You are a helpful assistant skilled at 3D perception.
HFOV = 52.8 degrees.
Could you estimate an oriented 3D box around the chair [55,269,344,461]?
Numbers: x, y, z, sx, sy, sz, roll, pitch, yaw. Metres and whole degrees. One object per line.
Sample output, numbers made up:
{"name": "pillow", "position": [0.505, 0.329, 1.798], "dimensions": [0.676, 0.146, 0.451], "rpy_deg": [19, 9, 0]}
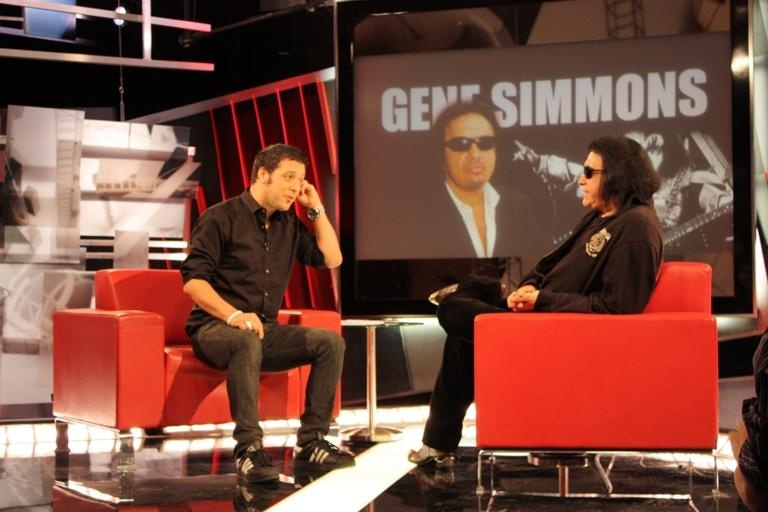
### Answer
{"name": "chair", "position": [-1.129, 0.520, 4.650], "dimensions": [1.001, 0.849, 1.417], "rpy_deg": [-4, -6, 43]}

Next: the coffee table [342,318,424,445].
{"name": "coffee table", "position": [0.166, 0.782, 5.022], "dimensions": [0.672, 0.733, 0.711], "rpy_deg": [-1, -2, 19]}

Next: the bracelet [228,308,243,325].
{"name": "bracelet", "position": [-0.782, 0.324, 4.052], "dimensions": [0.082, 0.068, 0.067], "rpy_deg": [-1, 2, -12]}

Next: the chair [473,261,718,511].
{"name": "chair", "position": [1.042, 0.571, 4.042], "dimensions": [1.099, 1.119, 1.199], "rpy_deg": [1, -5, 10]}

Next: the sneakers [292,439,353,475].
{"name": "sneakers", "position": [-0.324, 1.064, 4.078], "dimensions": [0.309, 0.146, 0.146], "rpy_deg": [-2, -4, 13]}

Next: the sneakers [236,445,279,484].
{"name": "sneakers", "position": [-0.639, 1.044, 3.844], "dimensions": [0.119, 0.131, 0.274], "rpy_deg": [4, -5, -34]}

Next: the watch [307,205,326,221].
{"name": "watch", "position": [-0.404, -0.252, 4.588], "dimensions": [0.084, 0.085, 0.084], "rpy_deg": [6, 3, -11]}

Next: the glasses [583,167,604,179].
{"name": "glasses", "position": [1.030, -0.408, 3.843], "dimensions": [0.074, 0.029, 0.056], "rpy_deg": [3, 0, -5]}
